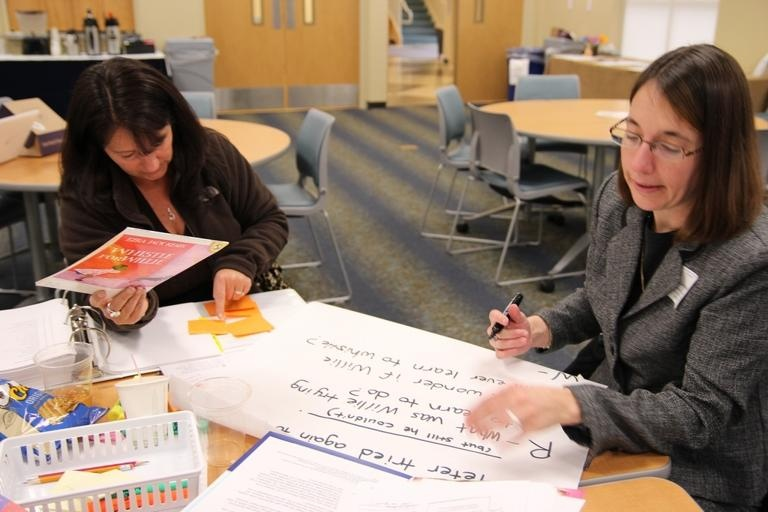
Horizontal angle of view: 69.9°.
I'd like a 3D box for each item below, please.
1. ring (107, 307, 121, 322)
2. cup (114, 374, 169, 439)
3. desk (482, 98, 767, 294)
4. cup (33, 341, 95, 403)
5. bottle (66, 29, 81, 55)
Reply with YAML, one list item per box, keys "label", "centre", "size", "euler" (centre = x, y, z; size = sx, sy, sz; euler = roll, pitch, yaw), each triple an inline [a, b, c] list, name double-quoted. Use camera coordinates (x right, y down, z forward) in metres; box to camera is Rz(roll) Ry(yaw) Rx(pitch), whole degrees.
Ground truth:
- label: "ring"
  centre: [-0.757, 0.162, 1.541]
  size: [0.021, 0.027, 0.038]
  euler: [-47, 13, -15]
- label: "cup"
  centre: [-0.534, 0.335, 1.235]
  size: [0.120, 0.092, 0.100]
  euler: [-1, -2, -21]
- label: "desk"
  centre: [1.506, -0.466, 4.583]
  size: [1.811, 1.090, 1.819]
  euler: [-23, 40, -25]
- label: "cup"
  centre: [-0.764, 0.297, 1.358]
  size: [0.143, 0.129, 0.136]
  euler: [0, 19, 0]
- label: "bottle"
  centre: [-3.950, -2.723, 6.948]
  size: [0.189, 0.299, 0.352]
  euler: [-10, 21, -19]
